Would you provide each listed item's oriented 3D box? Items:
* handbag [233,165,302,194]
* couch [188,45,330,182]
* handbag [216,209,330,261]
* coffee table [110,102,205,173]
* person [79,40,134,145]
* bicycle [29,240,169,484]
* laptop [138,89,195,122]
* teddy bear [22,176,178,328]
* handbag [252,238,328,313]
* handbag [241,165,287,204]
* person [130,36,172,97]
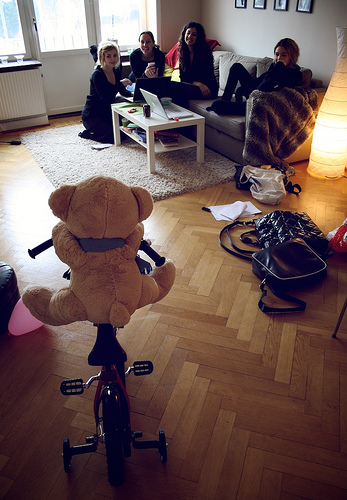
[{"bbox_3d":[0.813,-0.594,3.376,0.444,0.143,0.297,5,49,1],"label":"handbag"},{"bbox_3d":[0.859,-1.381,3.796,0.888,0.957,1.851,-10,31,-16],"label":"couch"},{"bbox_3d":[0.969,-0.153,3.041,0.663,0.328,1.125,2,-6,29],"label":"handbag"},{"bbox_3d":[-0.171,-1.234,3.932,0.654,0.520,0.978,-15,33,-24],"label":"coffee table"},{"bbox_3d":[-0.810,-1.843,4.352,0.549,1.030,0.617,14,33,23],"label":"person"},{"bbox_3d":[-0.176,0.353,1.472,0.456,0.555,0.853,-3,27,-6],"label":"bicycle"},{"bbox_3d":[-0.071,-1.416,3.743,0.459,0.308,0.507,-19,41,-25],"label":"laptop"},{"bbox_3d":[-0.267,-0.003,1.229,0.431,0.497,0.404,11,32,18],"label":"teddy bear"},{"bbox_3d":[0.678,0.101,2.272,0.458,0.164,0.587,20,43,40],"label":"handbag"},{"bbox_3d":[0.752,-0.555,3.187,0.363,0.200,0.358,5,30,9],"label":"handbag"},{"bbox_3d":[-0.312,-2.202,4.432,0.434,0.720,0.546,8,19,23],"label":"person"}]
